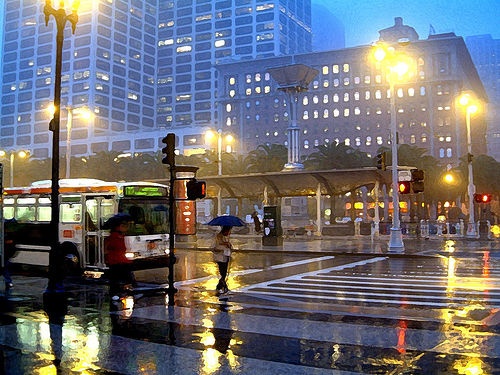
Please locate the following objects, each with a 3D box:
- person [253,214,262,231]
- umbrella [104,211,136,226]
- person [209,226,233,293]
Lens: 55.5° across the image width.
[{"bbox_3d":[0.669,3.149,41.941,0.664,1.607,1.396,1,-2,0],"label":"person"},{"bbox_3d":[-3.514,0.863,12.463,0.491,0.166,0.470,-21,7,-20],"label":"umbrella"},{"bbox_3d":[-0.827,2.027,13.771,0.512,1.880,1.122,1,-2,-3],"label":"person"}]
